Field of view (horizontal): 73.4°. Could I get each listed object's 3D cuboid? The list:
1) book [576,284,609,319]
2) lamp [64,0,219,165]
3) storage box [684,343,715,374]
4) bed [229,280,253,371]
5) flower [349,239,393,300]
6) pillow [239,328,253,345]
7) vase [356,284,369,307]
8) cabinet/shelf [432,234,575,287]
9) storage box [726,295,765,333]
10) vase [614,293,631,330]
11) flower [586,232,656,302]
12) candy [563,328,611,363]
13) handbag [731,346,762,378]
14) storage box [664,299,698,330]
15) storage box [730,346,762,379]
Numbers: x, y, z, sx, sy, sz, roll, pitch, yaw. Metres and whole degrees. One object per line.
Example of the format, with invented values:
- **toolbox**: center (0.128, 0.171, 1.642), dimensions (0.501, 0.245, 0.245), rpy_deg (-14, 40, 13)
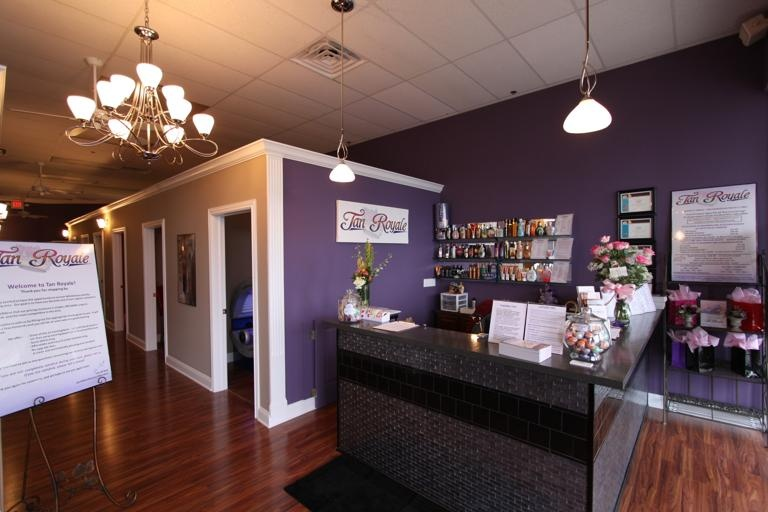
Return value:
- **book**: center (2.327, 0.527, 5.680), dimensions (0.379, 0.323, 0.848), rpy_deg (3, 2, 23)
- **lamp**: center (-3.088, -2.276, 6.543), dimensions (1.566, 2.111, 1.604), rpy_deg (-1, -11, 0)
- **storage box**: center (4.017, 1.288, 6.537), dimensions (0.317, 0.234, 0.167), rpy_deg (3, 2, 28)
- **bed**: center (-2.322, 0.987, 8.304), dimensions (0.355, 1.099, 0.515), rpy_deg (1, 2, -18)
- **flower**: center (-0.205, 0.254, 6.388), dimensions (0.444, 0.708, 0.352), rpy_deg (3, 1, -29)
- **pillow**: center (-2.217, 1.269, 8.218), dimensions (0.220, 0.202, 0.225), rpy_deg (-7, 2, -26)
- **vase**: center (-0.259, 0.473, 6.293), dimensions (0.123, 0.247, 0.086), rpy_deg (1, 2, -15)
- **cabinet/shelf**: center (1.740, 0.076, 7.715), dimensions (2.020, 0.724, 0.321), rpy_deg (1, -7, 11)
- **storage box**: center (4.461, 0.741, 6.320), dimensions (0.383, 0.550, 0.316), rpy_deg (2, -2, 22)
- **vase**: center (2.686, 0.621, 5.797), dimensions (0.165, 0.348, 0.381), rpy_deg (3, 2, 24)
- **flower**: center (2.823, 0.122, 6.008), dimensions (0.561, 0.639, 0.577), rpy_deg (-6, -7, 43)
- **candy**: center (1.939, 0.844, 4.914), dimensions (0.357, 0.293, 0.325), rpy_deg (1, -13, 9)
- **handbag**: center (4.503, 1.305, 6.355), dimensions (0.123, 0.354, 0.366), rpy_deg (-1, 2, 0)
- **storage box**: center (3.867, 0.754, 6.660), dimensions (0.383, 0.370, 0.198), rpy_deg (1, 2, 5)
- **storage box**: center (4.497, 1.310, 6.355), dimensions (0.130, 0.379, 0.393), rpy_deg (-2, 3, 2)
